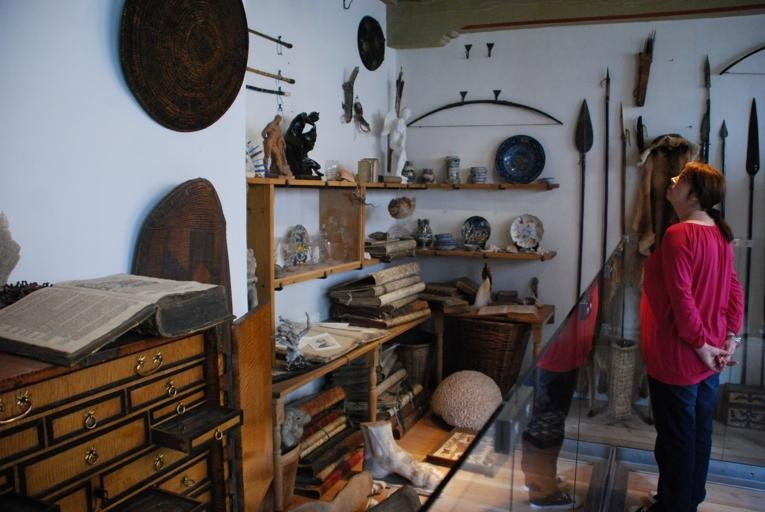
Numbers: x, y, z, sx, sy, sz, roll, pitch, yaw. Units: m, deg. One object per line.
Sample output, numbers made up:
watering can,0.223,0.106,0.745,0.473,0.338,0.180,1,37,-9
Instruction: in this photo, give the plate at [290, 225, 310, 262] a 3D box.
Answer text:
plate,-0.562,-0.078,3.693,0.091,0.219,0.159,1,-2,32

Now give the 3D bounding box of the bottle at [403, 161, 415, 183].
bottle,0.204,-0.729,4.790,0.133,0.177,0.070,4,-15,-40

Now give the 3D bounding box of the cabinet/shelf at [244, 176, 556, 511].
cabinet/shelf,0.075,0.550,3.536,1.094,1.346,2.066,2,7,19

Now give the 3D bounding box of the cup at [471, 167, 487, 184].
cup,0.830,-0.712,4.796,0.143,0.110,0.139,1,6,0

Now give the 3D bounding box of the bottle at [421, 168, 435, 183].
bottle,0.399,-0.719,4.848,0.126,0.148,0.128,3,7,16

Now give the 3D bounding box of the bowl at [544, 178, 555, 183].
bowl,1.428,-0.654,4.657,0.060,0.041,0.061,0,10,0
